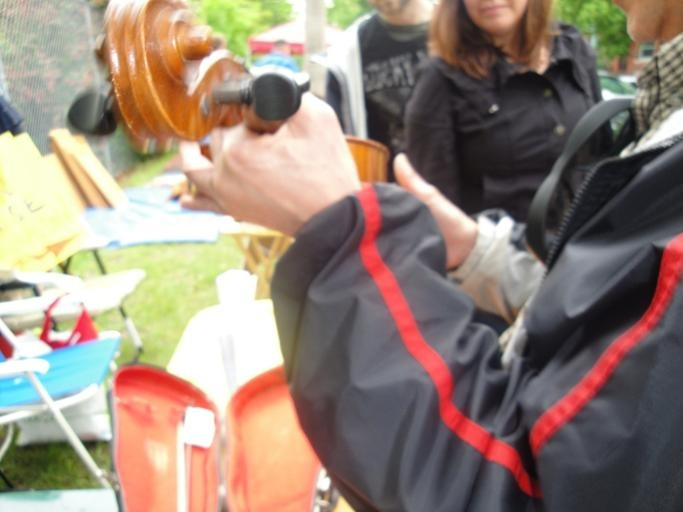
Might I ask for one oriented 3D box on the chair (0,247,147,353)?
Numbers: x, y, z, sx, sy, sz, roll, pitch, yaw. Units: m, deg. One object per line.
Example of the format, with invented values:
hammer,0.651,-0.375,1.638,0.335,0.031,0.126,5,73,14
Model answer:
chair,-1.445,0.243,3.588,0.308,0.473,0.347,-7,53,-2
